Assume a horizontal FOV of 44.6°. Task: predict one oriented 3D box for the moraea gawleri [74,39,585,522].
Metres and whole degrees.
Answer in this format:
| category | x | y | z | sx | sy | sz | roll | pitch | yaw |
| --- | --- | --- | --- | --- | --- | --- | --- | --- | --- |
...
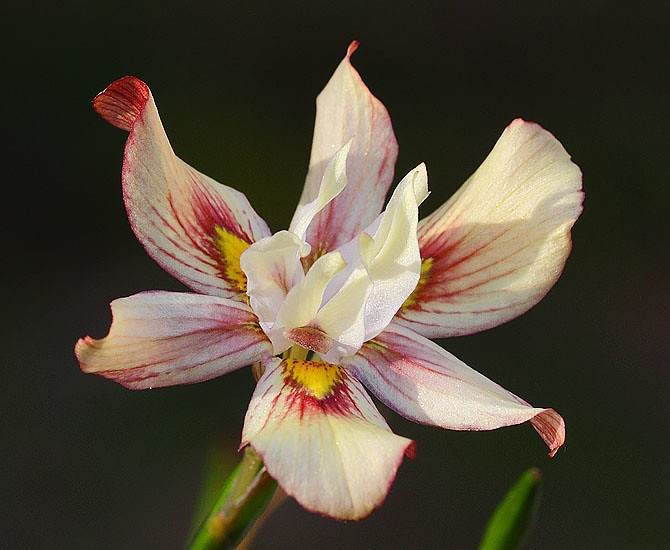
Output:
| category | x | y | z | sx | sy | sz | roll | pitch | yaw |
| --- | --- | --- | --- | --- | --- | --- | --- | --- | --- |
| moraea gawleri | 0.001 | 0.024 | 0.776 | 0.393 | 0.202 | 0.390 | -28 | 87 | -15 |
